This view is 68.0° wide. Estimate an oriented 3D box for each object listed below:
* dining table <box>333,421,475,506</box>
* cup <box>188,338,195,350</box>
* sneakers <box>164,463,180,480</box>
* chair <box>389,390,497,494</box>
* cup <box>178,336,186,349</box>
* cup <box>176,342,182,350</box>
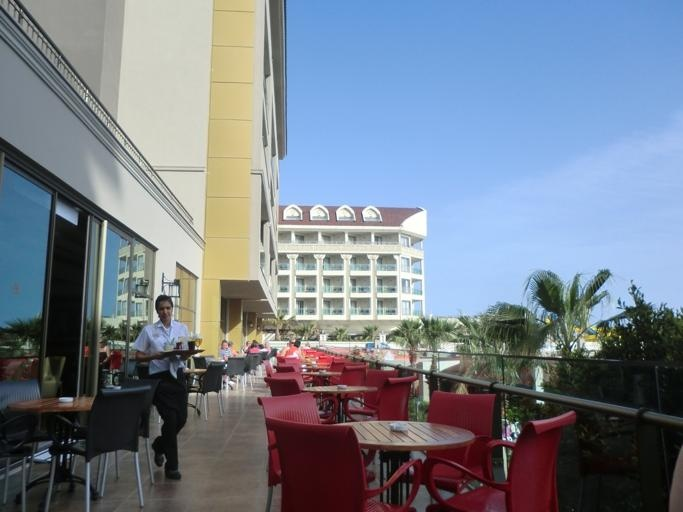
[{"bbox_3d":[0.545,1.734,4.225,0.982,0.785,1.057,0,-6,-4],"label":"dining table"},{"bbox_3d":[-1.988,1.159,6.676,0.117,0.153,0.104,6,-18,-29],"label":"cup"},{"bbox_3d":[-2.133,2.709,6.375,0.108,0.144,0.315,5,-14,-26],"label":"sneakers"},{"bbox_3d":[1.016,1.741,4.861,0.676,1.021,0.704,-10,-24,35],"label":"chair"},{"bbox_3d":[-2.072,1.129,6.602,0.121,0.134,0.108,-5,-10,18],"label":"cup"},{"bbox_3d":[-2.096,1.167,6.558,0.069,0.082,0.090,-1,-14,-2],"label":"cup"}]
